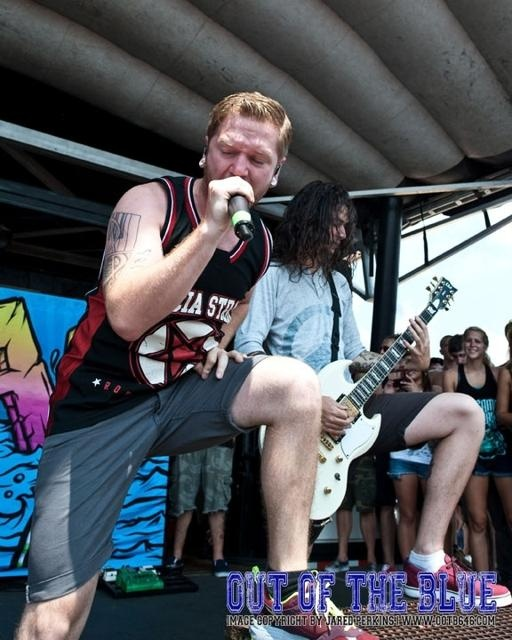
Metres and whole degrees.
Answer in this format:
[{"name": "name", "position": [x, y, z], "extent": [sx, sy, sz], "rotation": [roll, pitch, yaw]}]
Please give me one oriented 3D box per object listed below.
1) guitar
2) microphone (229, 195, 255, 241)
[{"name": "guitar", "position": [0.430, 0.298, 2.503], "extent": [0.506, 1.357, 0.144], "rotation": [48, -28, -14]}, {"name": "microphone", "position": [-0.032, -0.201, 1.070], "extent": [0.040, 0.109, 0.039], "rotation": [-6, -47, -6]}]
